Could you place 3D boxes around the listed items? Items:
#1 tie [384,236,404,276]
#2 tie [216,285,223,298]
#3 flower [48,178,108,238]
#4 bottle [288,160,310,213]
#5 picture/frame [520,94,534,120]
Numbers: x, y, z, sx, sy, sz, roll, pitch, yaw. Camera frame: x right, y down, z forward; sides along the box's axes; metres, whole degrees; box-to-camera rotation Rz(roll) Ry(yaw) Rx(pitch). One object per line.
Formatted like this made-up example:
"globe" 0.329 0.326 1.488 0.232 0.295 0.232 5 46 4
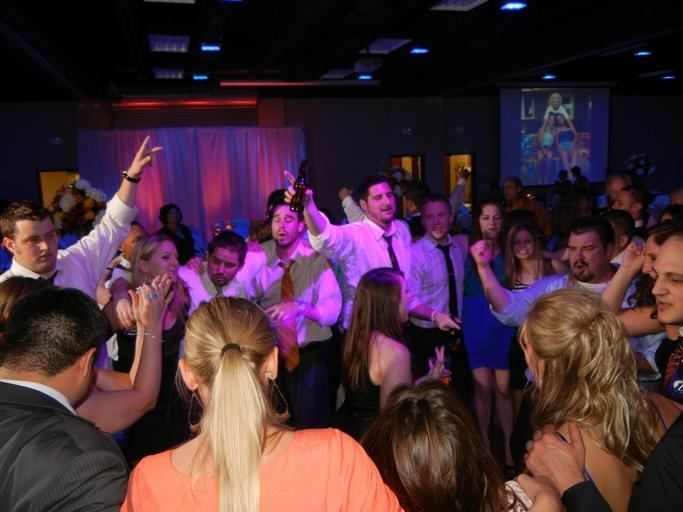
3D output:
"tie" 0.386 0.000 4.142 0.036 0.340 0.049 -21 -7 -1
"tie" -0.764 0.216 3.533 0.038 0.041 0.065 9 -31 -15
"flower" -2.327 -0.419 5.168 0.372 0.486 0.526 30 2 -17
"bottle" -0.266 -0.450 3.545 0.108 0.335 0.356 -1 3 -5
"picture/frame" 3.629 -2.900 10.870 0.398 0.487 0.136 -2 5 -23
